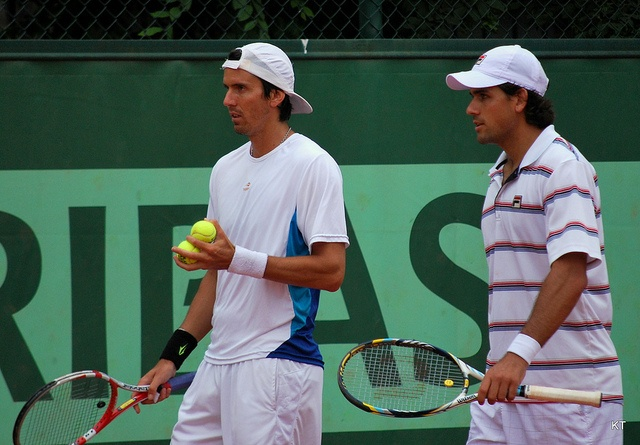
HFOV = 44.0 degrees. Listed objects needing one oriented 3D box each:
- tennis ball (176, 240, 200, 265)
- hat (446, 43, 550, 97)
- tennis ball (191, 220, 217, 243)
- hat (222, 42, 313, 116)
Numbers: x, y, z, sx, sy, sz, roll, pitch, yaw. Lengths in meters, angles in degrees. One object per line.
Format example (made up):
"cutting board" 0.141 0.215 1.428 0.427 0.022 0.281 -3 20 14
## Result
"tennis ball" -0.735 0.168 4.399 0.128 0.135 0.072 2 7 20
"hat" 1.083 -0.917 4.806 0.570 0.404 0.462 1 9 0
"tennis ball" -0.653 0.061 4.447 0.111 0.130 0.125 19 -39 -11
"hat" -0.335 -0.945 4.750 0.461 0.346 0.480 10 2 -2
